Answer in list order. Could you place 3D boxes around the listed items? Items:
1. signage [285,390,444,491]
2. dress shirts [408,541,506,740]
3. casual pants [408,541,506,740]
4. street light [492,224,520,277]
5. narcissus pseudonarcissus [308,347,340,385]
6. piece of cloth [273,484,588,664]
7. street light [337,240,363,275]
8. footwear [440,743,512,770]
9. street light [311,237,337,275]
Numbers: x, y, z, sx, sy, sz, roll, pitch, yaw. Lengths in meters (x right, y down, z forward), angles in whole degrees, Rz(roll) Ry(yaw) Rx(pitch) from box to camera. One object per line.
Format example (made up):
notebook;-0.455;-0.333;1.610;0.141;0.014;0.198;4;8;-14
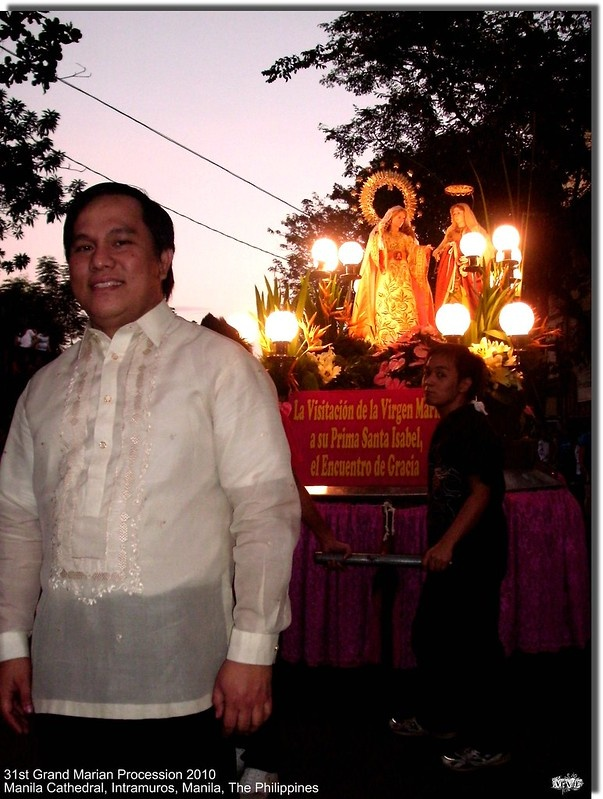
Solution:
signage;0.390;0.256;5.359;1.240;0.643;0.109;2;-1;-35
dress shirts;0.806;1.276;4.024;0.462;1.025;0.271;1;3;12
casual pants;0.806;1.276;4.024;0.462;1.025;0.271;1;3;12
street light;1.758;-1.275;6.688;0.231;0.504;0.697;1;2;15
narcissus pseudonarcissus;0.169;-0.235;5.783;0.298;0.230;0.140;-3;-28;4
piece of cloth;1.120;1.240;6.073;1.958;1.021;2.517;7;-13;-39
street light;0.488;-1.381;7.698;0.253;0.386;0.585;0;2;3
footwear;0.900;1.849;4.037;0.182;0.054;0.145;-22;-13;4
street light;0.225;-1.378;7.552;0.256;0.378;0.542;0;2;1
